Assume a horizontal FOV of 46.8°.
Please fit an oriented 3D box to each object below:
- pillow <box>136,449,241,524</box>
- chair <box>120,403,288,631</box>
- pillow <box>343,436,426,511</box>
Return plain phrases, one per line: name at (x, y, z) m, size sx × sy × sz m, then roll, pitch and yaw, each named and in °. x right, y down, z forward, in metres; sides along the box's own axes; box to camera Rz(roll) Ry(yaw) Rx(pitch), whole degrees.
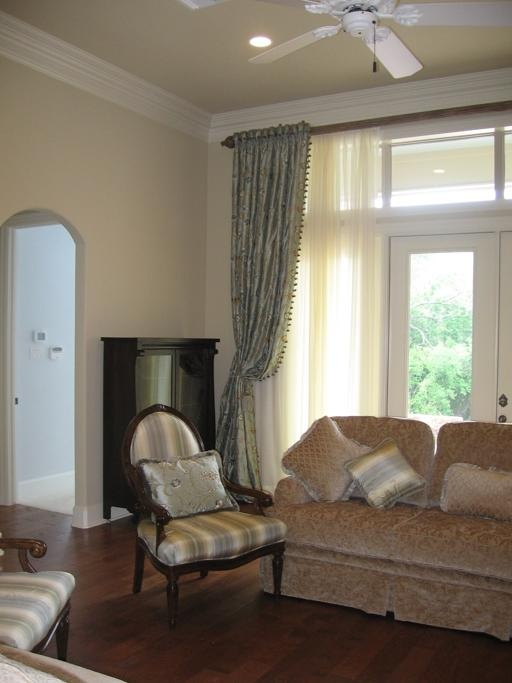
pillow at (-0.351, 0.734, 3.017) m, size 0.439 × 0.302 × 0.125 m, roll 2°, pitch -30°, yaw -45°
chair at (-0.351, 0.765, 3.162) m, size 0.919 × 1.176 × 0.938 m, roll 1°, pitch -4°, yaw -39°
pillow at (0.650, 0.687, 3.082) m, size 0.299 × 0.089 × 0.301 m, roll -31°, pitch 43°, yaw 2°
